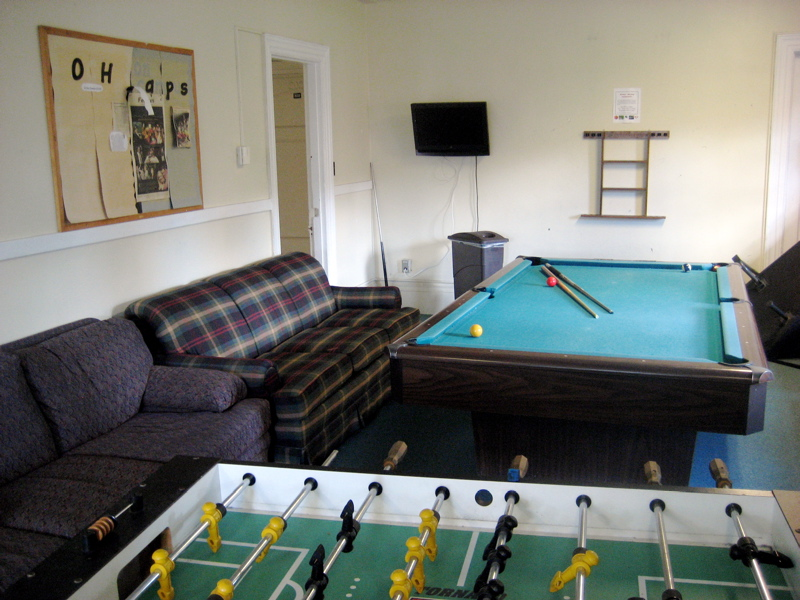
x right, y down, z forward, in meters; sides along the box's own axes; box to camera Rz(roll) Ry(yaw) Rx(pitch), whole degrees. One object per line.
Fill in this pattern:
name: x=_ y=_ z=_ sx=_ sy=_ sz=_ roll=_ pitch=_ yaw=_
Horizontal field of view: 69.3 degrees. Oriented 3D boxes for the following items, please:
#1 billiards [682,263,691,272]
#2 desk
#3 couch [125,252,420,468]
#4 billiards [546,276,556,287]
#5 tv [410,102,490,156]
billiards: x=1.970 y=-0.225 z=3.977 sx=0.040 sy=0.059 sz=0.021 roll=3 pitch=-9 yaw=12
desk: x=1.184 y=0.355 z=3.415 sx=1.524 sy=0.851 sz=2.259 roll=1 pitch=15 yaw=28
couch: x=-0.763 y=0.244 z=3.898 sx=1.255 sy=1.217 sz=2.309 roll=5 pitch=13 yaw=14
billiards: x=0.944 y=-0.115 z=3.617 sx=0.055 sy=0.057 sz=0.065 roll=3 pitch=-15 yaw=2
tv: x=0.527 y=-1.787 z=6.040 sx=0.794 sy=0.537 sz=0.085 roll=1 pitch=10 yaw=13
